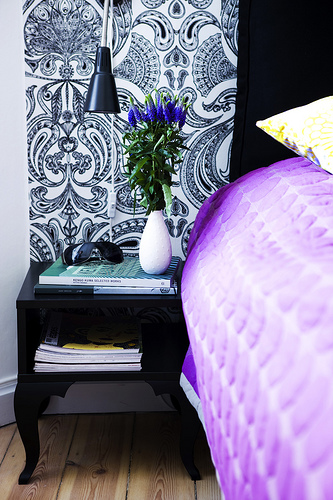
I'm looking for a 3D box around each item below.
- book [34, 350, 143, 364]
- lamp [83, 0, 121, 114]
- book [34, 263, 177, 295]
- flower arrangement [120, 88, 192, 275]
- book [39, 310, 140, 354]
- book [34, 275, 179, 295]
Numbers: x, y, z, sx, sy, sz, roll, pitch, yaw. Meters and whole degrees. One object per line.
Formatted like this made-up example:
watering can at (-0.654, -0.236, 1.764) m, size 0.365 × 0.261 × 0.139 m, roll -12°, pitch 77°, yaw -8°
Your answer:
book at (-0.195, 0.266, 0.986) m, size 0.257 × 0.034 × 0.010 m, roll 1°, pitch 7°, yaw -6°
lamp at (-0.155, -0.463, 0.967) m, size 0.087 × 0.260 × 0.176 m, roll 2°, pitch 7°, yaw 5°
book at (-0.150, 0.092, 0.975) m, size 0.348 × 0.039 × 0.022 m, roll 1°, pitch 7°, yaw -4°
flower arrangement at (-0.030, -0.163, 1.015) m, size 0.186 × 0.476 × 0.157 m, roll 4°, pitch 0°, yaw -1°
book at (-0.215, 0.221, 1.117) m, size 0.271 × 0.034 × 0.280 m, roll 1°, pitch 8°, yaw -6°
book at (-0.148, 0.094, 0.971) m, size 0.345 × 0.034 × 0.012 m, roll 1°, pitch 7°, yaw -4°
